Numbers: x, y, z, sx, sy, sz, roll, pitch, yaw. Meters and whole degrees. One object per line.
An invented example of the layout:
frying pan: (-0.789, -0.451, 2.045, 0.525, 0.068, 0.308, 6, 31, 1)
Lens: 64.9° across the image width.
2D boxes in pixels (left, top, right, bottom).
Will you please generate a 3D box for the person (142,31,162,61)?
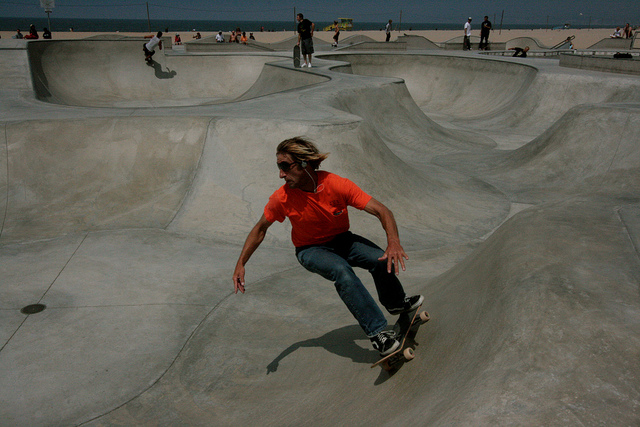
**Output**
person: (-5.890, -5.892, 17.918, 0.637, 0.876, 0.727, -6, 27, -15)

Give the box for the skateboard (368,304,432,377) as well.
skateboard: (0.776, 1.160, 4.619, 0.317, 0.164, 1.038, -22, 8, 35)

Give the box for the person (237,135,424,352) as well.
person: (0.131, 0.242, 4.483, 1.525, 1.721, 0.617, 16, 31, 26)
